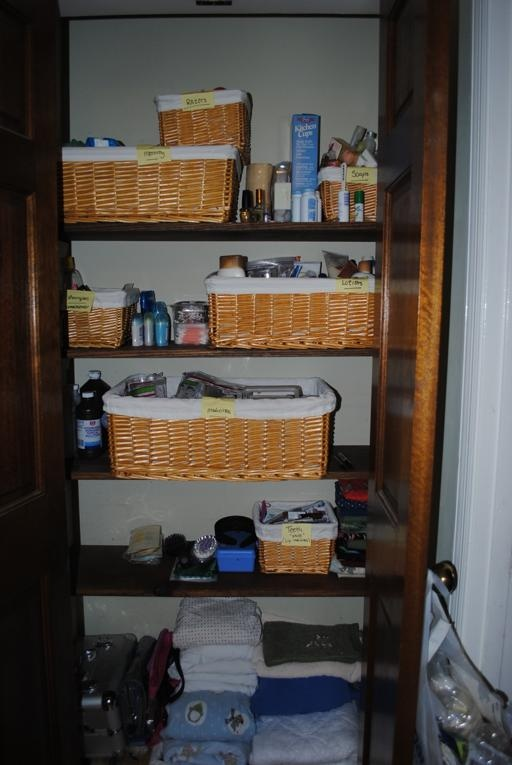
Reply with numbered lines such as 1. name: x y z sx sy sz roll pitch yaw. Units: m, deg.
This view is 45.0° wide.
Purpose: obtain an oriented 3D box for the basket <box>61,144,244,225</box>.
1. basket: -0.279 -0.480 1.597 0.309 0.130 0.231 0 12 1

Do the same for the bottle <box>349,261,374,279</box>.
1. bottle: 0.277 -0.281 1.601 0.055 0.065 0.060 0 6 -2

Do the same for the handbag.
1. handbag: -0.294 0.884 1.784 0.068 0.245 0.177 12 -25 -9

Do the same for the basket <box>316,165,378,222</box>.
1. basket: 0.240 -0.487 1.642 0.160 0.125 0.077 1 -3 5

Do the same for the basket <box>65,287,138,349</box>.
1. basket: -0.450 -0.176 1.647 0.145 0.113 0.199 0 4 25

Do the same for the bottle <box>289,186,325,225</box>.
1. bottle: 0.129 -0.463 1.612 0.060 0.106 0.100 -2 4 -19

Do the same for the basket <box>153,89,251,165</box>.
1. basket: -0.130 -0.652 1.665 0.193 0.143 0.204 -2 13 -6

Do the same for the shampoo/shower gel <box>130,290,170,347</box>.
1. shampoo/shower gel: -0.280 -0.172 1.680 0.097 0.176 0.158 1 2 -5

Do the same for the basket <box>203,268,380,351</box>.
1. basket: 0.093 -0.162 1.562 0.319 0.163 0.216 1 3 -2

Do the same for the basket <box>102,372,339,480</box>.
1. basket: -0.077 0.083 1.563 0.432 0.195 0.280 2 4 -2

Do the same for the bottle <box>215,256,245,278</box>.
1. bottle: -0.063 -0.288 1.582 0.059 0.060 0.062 0 6 -6
